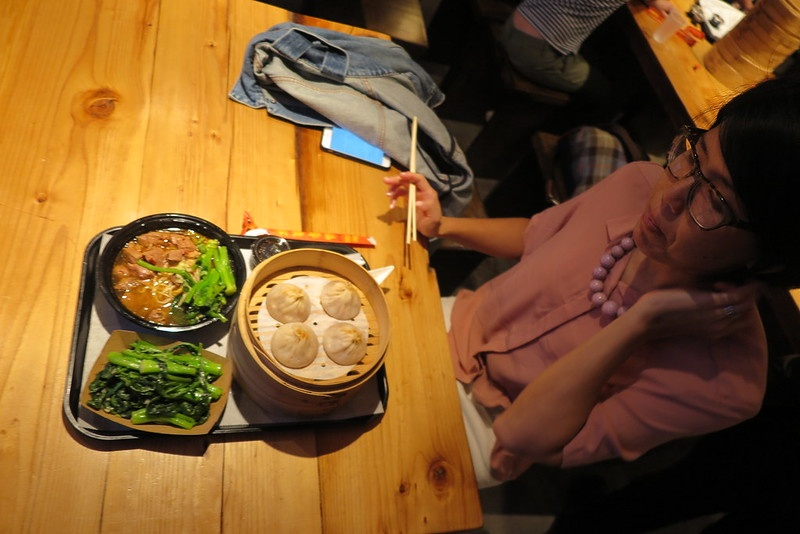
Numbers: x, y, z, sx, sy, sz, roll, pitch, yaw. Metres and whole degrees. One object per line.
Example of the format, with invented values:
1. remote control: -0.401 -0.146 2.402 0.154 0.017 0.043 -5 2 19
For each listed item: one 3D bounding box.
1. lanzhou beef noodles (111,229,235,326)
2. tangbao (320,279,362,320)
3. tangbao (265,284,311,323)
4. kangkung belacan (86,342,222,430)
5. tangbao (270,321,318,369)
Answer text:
1. lanzhou beef noodles: -1.079 0.053 3.011 0.500 0.131 0.473 -29 77 -23
2. tangbao: -0.280 0.164 2.934 0.182 0.070 0.175 24 49 -20
3. tangbao: -0.516 0.172 2.872 0.214 0.095 0.170 16 58 -12
4. kangkung belacan: -1.086 0.544 2.770 0.546 0.140 0.341 18 57 -10
5. tangbao: -0.475 0.354 2.818 0.218 0.108 0.214 -21 71 -29
